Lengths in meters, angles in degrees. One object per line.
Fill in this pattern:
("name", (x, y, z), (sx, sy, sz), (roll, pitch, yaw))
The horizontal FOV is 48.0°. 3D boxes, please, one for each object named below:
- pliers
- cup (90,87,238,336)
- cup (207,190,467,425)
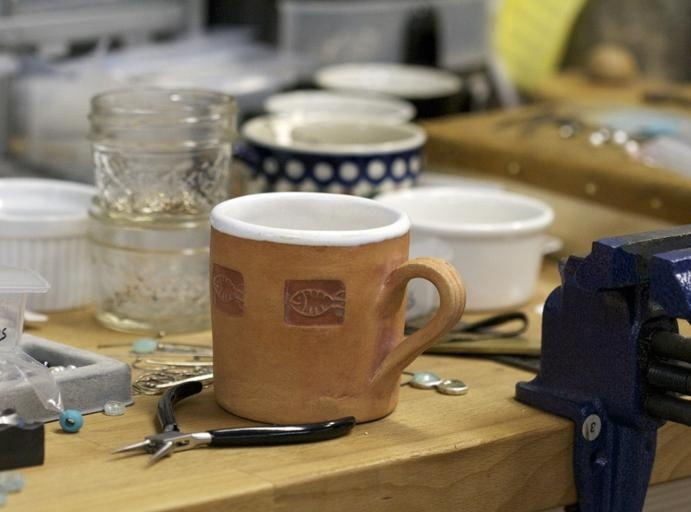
("pliers", (-0.079, 0.110, 0.487), (0.145, 0.014, 0.120), (4, 11, 27))
("cup", (-0.155, -0.048, 0.699), (0.147, 0.198, 0.100), (19, 23, 41))
("cup", (-0.002, 0.028, 0.583), (0.194, 0.159, 0.146), (4, 7, 18))
